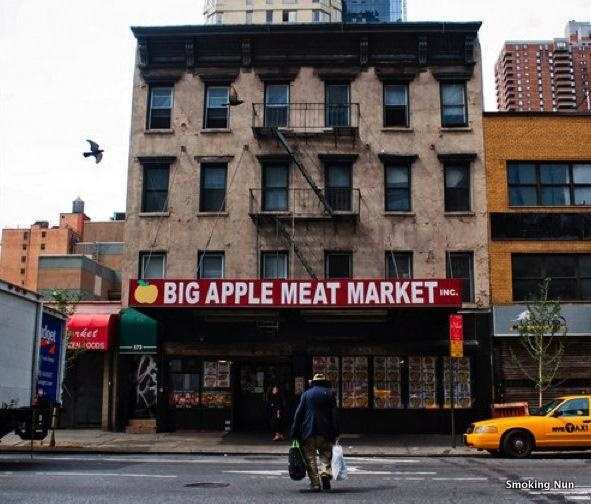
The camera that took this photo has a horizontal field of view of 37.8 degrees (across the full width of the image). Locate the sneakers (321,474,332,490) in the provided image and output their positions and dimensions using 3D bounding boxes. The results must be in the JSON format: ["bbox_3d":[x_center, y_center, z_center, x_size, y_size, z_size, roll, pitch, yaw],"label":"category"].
[{"bbox_3d":[0.646,4.869,18.334,0.133,0.436,0.171,0,16,8],"label":"sneakers"}]

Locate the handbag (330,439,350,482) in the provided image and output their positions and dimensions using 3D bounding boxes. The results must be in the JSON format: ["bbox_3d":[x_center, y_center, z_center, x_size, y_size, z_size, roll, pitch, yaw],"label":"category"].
[{"bbox_3d":[0.923,4.485,18.553,0.313,0.763,0.468,-1,-14,2],"label":"handbag"}]

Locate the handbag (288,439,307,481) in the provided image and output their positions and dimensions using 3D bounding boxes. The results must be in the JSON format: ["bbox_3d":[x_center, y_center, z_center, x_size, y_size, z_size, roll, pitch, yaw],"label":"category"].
[{"bbox_3d":[0.055,4.441,18.438,0.410,1.144,0.763,-3,-27,5],"label":"handbag"}]

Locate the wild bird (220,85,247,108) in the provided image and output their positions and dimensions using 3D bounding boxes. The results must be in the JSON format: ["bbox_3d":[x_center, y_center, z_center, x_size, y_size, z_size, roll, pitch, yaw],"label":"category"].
[{"bbox_3d":[-2.456,-6.147,33.726,0.791,1.005,0.915,0,1,6],"label":"wild bird"}]

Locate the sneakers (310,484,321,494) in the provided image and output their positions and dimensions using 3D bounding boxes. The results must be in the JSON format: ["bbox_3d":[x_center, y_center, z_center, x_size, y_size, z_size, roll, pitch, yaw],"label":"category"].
[{"bbox_3d":[0.435,4.997,18.319,0.242,0.157,0.251,-1,-15,-1],"label":"sneakers"}]
